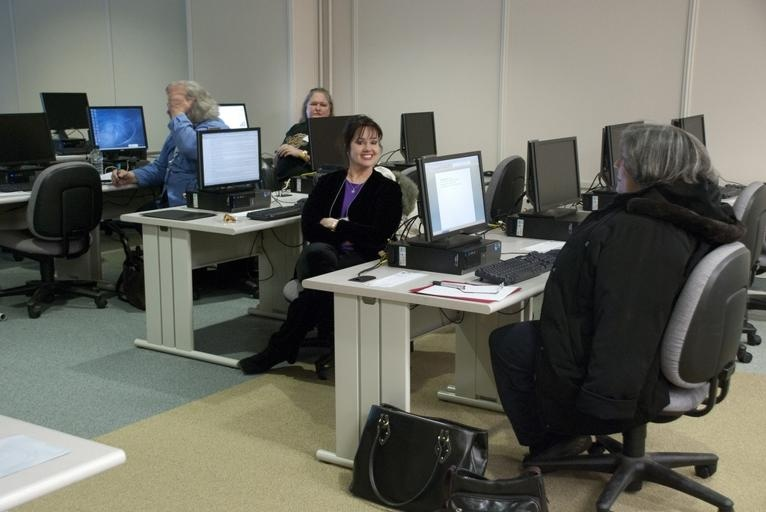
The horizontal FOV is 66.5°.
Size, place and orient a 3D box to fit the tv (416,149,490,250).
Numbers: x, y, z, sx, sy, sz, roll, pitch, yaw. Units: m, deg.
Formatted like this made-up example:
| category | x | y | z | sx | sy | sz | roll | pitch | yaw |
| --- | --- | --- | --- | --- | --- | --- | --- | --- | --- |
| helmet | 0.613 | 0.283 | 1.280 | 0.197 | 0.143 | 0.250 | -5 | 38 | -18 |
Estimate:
| category | x | y | z | sx | sy | sz | roll | pitch | yaw |
| --- | --- | --- | --- | --- | --- | --- | --- | --- | --- |
| tv | 0.375 | -0.286 | 3.171 | 0.086 | 0.484 | 0.662 | -10 | 0 | 33 |

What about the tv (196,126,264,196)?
| category | x | y | z | sx | sy | sz | roll | pitch | yaw |
| --- | --- | --- | --- | --- | --- | --- | --- | --- | --- |
| tv | -1.165 | -0.705 | 4.398 | 0.061 | 0.383 | 0.525 | 8 | 12 | 42 |

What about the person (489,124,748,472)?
| category | x | y | z | sx | sy | sz | roll | pitch | yaw |
| --- | --- | --- | --- | --- | --- | --- | --- | --- | --- |
| person | 1.058 | 0.127 | 2.521 | 0.764 | 1.361 | 0.403 | -3 | 12 | -17 |

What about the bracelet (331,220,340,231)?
| category | x | y | z | sx | sy | sz | roll | pitch | yaw |
| --- | --- | --- | --- | --- | --- | --- | --- | --- | --- |
| bracelet | -0.308 | -0.195 | 3.739 | 0.015 | 0.060 | 0.062 | 24 | 2 | -20 |

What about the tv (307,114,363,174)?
| category | x | y | z | sx | sy | sz | roll | pitch | yaw |
| --- | --- | --- | --- | --- | --- | --- | --- | --- | --- |
| tv | -0.392 | -0.894 | 4.669 | 0.457 | 0.570 | 0.541 | 1 | 7 | 15 |

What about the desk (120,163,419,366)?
| category | x | y | z | sx | sy | sz | roll | pitch | yaw |
| --- | --- | --- | --- | --- | --- | --- | --- | --- | --- |
| desk | -0.796 | 0.066 | 4.019 | 0.792 | 0.681 | 1.429 | 5 | 12 | 24 |

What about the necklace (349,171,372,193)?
| category | x | y | z | sx | sy | sz | roll | pitch | yaw |
| --- | --- | --- | --- | --- | --- | --- | --- | --- | --- |
| necklace | -0.143 | -0.500 | 3.936 | 0.108 | 0.114 | 0.143 | 10 | 0 | 19 |

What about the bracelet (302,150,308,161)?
| category | x | y | z | sx | sy | sz | roll | pitch | yaw |
| --- | --- | --- | --- | --- | --- | --- | --- | --- | --- |
| bracelet | -0.716 | -0.923 | 5.370 | 0.061 | 0.081 | 0.023 | 10 | -11 | -6 |

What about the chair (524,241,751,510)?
| category | x | y | z | sx | sy | sz | roll | pitch | yaw |
| --- | --- | --- | --- | --- | --- | --- | --- | --- | --- |
| chair | 1.199 | 0.533 | 3.175 | 1.122 | 1.401 | 1.200 | 1 | 4 | 22 |

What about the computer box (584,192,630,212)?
| category | x | y | z | sx | sy | sz | roll | pitch | yaw |
| --- | --- | --- | --- | --- | --- | --- | --- | --- | --- |
| computer box | 1.300 | -0.317 | 3.393 | 0.175 | 0.126 | 0.255 | -1 | 9 | 0 |
